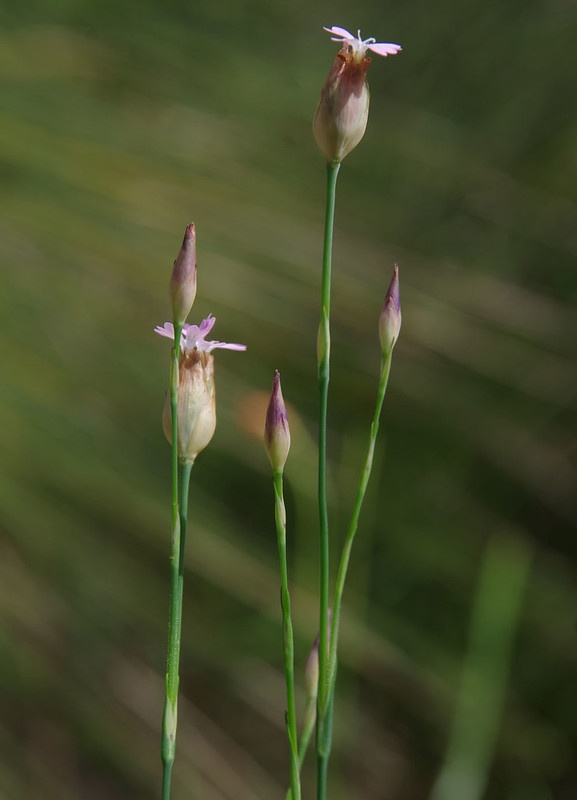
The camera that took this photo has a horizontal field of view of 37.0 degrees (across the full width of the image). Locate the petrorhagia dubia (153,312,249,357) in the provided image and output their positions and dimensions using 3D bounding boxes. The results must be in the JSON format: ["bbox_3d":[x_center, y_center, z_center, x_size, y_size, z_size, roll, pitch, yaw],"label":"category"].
[{"bbox_3d":[-0.061,-0.049,0.644,0.044,0.030,0.050,10,-8,23],"label":"petrorhagia dubia"}]
